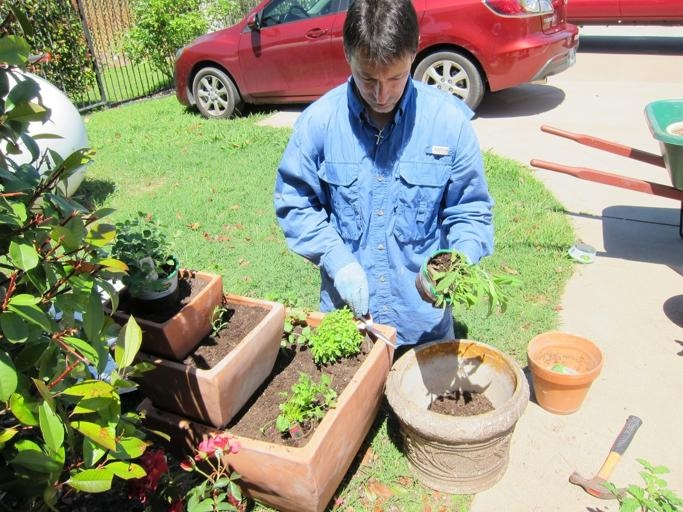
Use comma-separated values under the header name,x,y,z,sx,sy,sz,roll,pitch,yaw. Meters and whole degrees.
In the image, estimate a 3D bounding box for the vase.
name,x,y,z,sx,sy,sz,roll,pitch,yaw
vase,1.493,0.826,3.496,0.453,0.467,0.401,8,29,21

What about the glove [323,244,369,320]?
name,x,y,z,sx,sy,sz,roll,pitch,yaw
glove,0.035,0.141,3.049,0.123,0.245,0.419,1,49,-55

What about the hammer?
name,x,y,z,sx,sy,sz,roll,pitch,yaw
hammer,1.725,1.264,3.202,0.712,0.080,0.271,-29,26,-36
